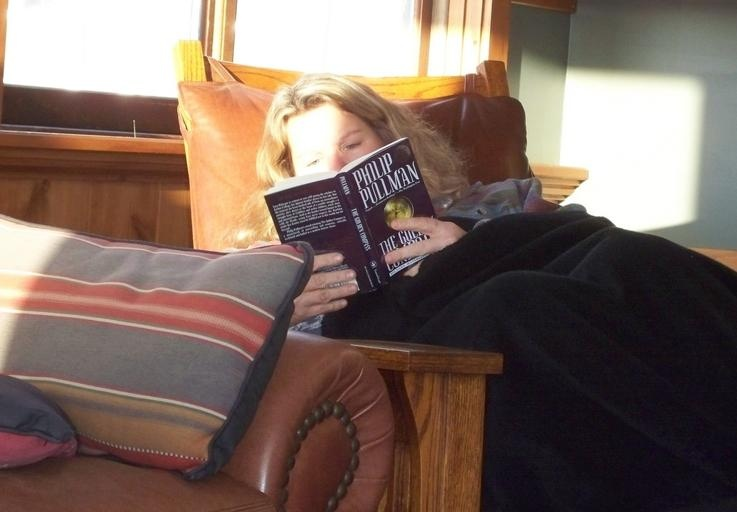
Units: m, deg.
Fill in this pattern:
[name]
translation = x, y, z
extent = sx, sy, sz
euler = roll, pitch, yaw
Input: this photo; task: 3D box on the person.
[person]
translation = 0.011, -0.164, 1.774
extent = 0.702, 0.891, 0.830
euler = -7, 1, -39
